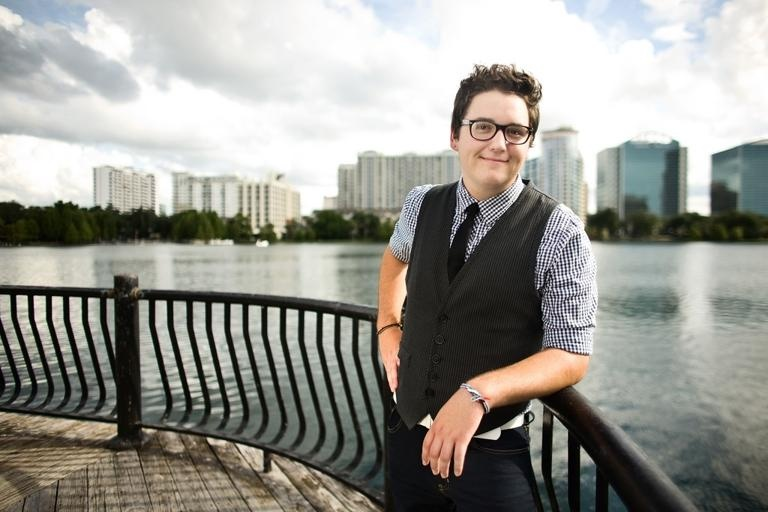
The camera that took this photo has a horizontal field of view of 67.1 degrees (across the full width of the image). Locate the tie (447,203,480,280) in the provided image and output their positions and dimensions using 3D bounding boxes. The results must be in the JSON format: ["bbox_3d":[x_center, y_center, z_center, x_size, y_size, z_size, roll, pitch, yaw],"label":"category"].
[{"bbox_3d":[0.797,-0.152,5.792,0.224,0.886,0.157,15,-12,23],"label":"tie"}]

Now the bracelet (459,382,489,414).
[{"bbox_3d":[0.853,1.323,5.399,0.267,0.259,0.039,1,4,13],"label":"bracelet"}]
